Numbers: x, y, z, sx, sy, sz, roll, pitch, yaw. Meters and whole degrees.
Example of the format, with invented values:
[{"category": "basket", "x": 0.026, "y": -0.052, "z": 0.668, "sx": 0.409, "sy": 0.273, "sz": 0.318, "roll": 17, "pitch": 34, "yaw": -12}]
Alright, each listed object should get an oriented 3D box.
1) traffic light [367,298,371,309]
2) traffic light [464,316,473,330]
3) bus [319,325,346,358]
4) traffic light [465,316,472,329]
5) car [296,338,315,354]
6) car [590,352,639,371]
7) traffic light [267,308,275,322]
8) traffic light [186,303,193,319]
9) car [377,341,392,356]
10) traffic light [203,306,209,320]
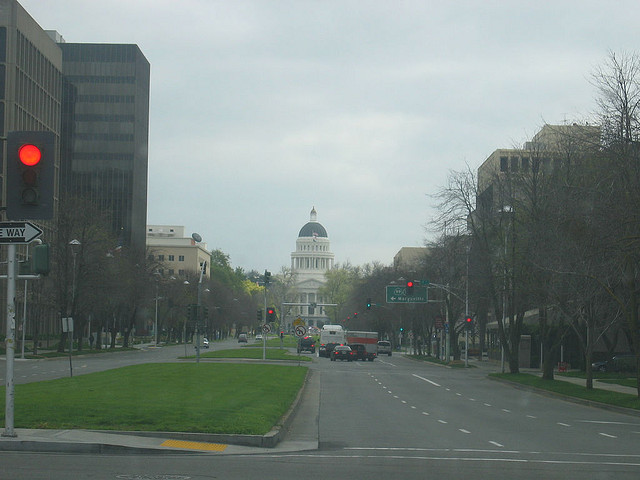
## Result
[{"category": "traffic light", "x": 4.560, "y": 6.044, "z": 99.794, "sx": 0.174, "sy": 0.694, "sz": 0.990, "roll": 2, "pitch": -11, "yaw": -11}, {"category": "traffic light", "x": 12.158, "y": 6.730, "z": 87.071, "sx": 0.507, "sy": 1.039, "sz": 1.428, "roll": 0, "pitch": -11, "yaw": 2}, {"category": "bus", "x": 1.391, "y": 10.727, "z": 113.042, "sx": 2.571, "sy": 3.134, "sz": 5.435, "roll": 1, "pitch": -5, "yaw": 2}, {"category": "traffic light", "x": 12.130, "y": 6.674, "z": 86.885, "sx": 0.450, "sy": 1.010, "sz": 1.046, "roll": 0, "pitch": -10, "yaw": 3}, {"category": "car", "x": -1.298, "y": 11.711, "z": 117.451, "sx": 1.486, "sy": 1.632, "sz": 2.954, "roll": 1, "pitch": -3, "yaw": 1}, {"category": "car", "x": 22.975, "y": 9.394, "z": 82.538, "sx": 3.236, "sy": 1.222, "sz": 2.450, "roll": -5, "pitch": -1, "yaw": 7}, {"category": "traffic light", "x": -3.825, "y": 5.792, "z": 83.996, "sx": 0.484, "sy": 1.117, "sz": 1.686, "roll": 2, "pitch": -11, "yaw": -8}, {"category": "traffic light", "x": -10.150, "y": 5.677, "z": 83.773, "sx": 0.359, "sy": 0.903, "sz": 0.638, "roll": 1, "pitch": -9, "yaw": -4}, {"category": "car", "x": 7.340, "y": 12.040, "z": 120.041, "sx": 1.290, "sy": 1.644, "sz": 3.149, "roll": -1, "pitch": -11, "yaw": 7}, {"category": "traffic light", "x": -9.271, "y": 5.846, "z": 86.393, "sx": 0.303, "sy": 0.749, "sz": 0.892, "roll": 1, "pitch": -10, "yaw": -4}]
